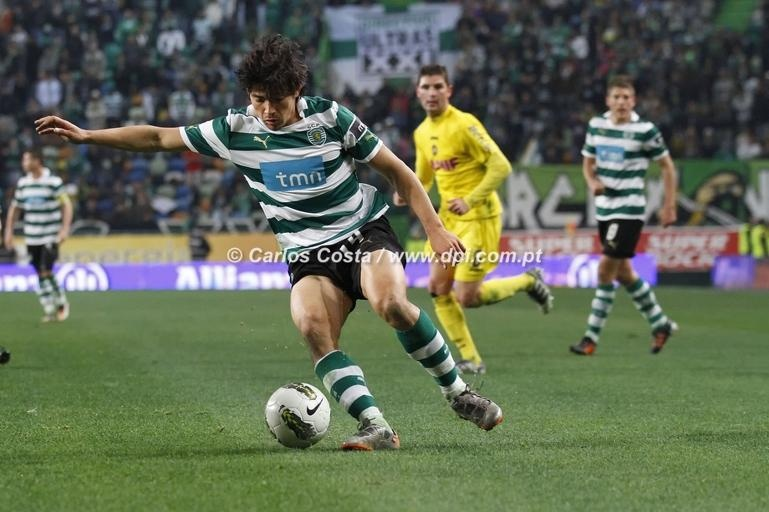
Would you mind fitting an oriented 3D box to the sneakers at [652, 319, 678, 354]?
[{"bbox_3d":[3.083,0.859,11.649,0.227,0.496,0.181,14,33,2],"label":"sneakers"}]

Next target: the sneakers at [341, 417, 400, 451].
[{"bbox_3d":[-0.110,1.556,9.164,0.241,0.290,0.667,-4,-11,38],"label":"sneakers"}]

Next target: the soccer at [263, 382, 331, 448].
[{"bbox_3d":[-0.855,1.469,9.276,0.397,0.433,0.406,-20,-24,0],"label":"soccer"}]

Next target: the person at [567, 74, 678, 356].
[{"bbox_3d":[2.672,-0.389,11.642,1.074,3.122,0.749,4,15,14],"label":"person"}]

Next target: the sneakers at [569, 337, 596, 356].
[{"bbox_3d":[2.195,1.008,11.743,0.142,0.158,0.347,21,3,37],"label":"sneakers"}]

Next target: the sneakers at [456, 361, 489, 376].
[{"bbox_3d":[0.897,1.191,11.138,0.342,0.145,0.122,9,-12,-8],"label":"sneakers"}]
